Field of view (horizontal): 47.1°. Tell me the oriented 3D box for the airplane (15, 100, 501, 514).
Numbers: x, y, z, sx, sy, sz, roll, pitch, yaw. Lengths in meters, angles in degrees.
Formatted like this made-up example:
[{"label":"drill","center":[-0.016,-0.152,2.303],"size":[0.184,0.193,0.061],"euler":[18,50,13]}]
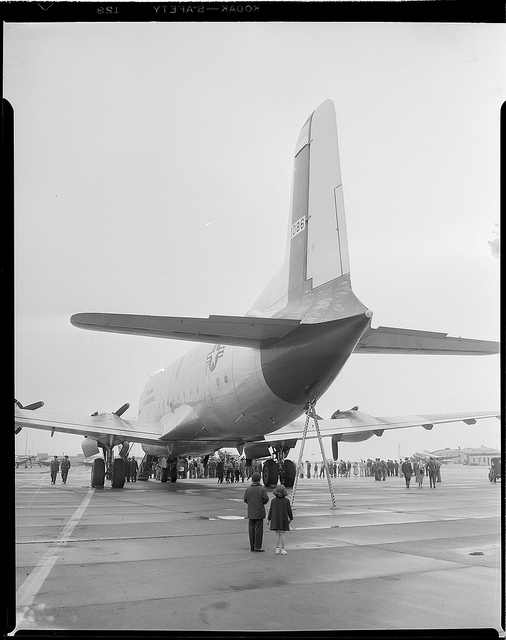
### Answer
[{"label":"airplane","center":[0.170,0.518,10.614],"size":[7.413,4.683,6.072],"euler":[2,-11,-23]}]
